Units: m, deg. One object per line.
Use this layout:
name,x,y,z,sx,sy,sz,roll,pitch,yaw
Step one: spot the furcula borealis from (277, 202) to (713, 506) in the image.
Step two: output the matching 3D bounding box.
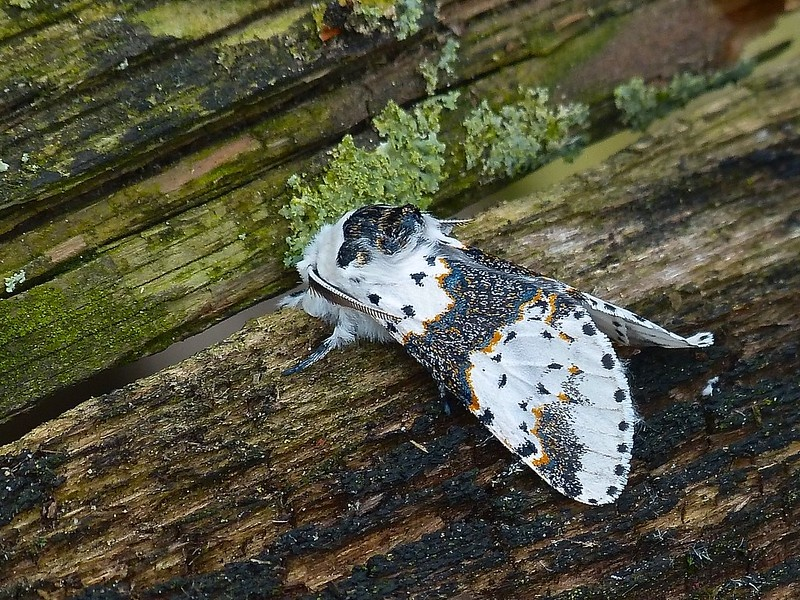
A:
furcula borealis,0.503,0.386,8.423,2.574,0.749,1.704,24,68,13
